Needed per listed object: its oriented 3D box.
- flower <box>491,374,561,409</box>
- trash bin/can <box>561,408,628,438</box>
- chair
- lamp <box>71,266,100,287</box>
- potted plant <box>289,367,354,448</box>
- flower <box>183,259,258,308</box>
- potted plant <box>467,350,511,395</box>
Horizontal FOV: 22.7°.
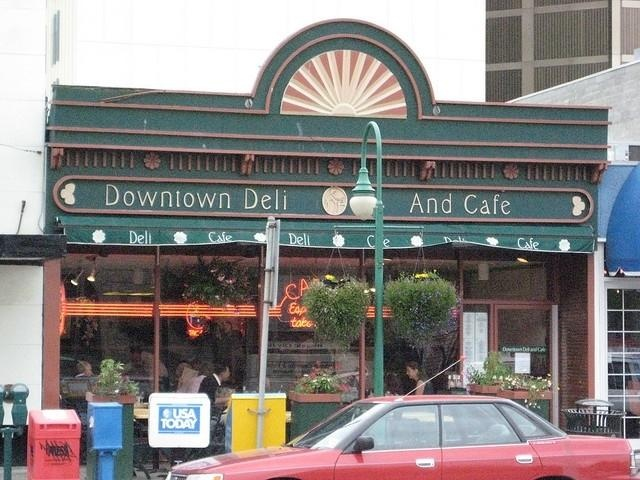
[{"bbox_3d":[4.518,3.295,34.946,1.162,0.681,1.246,2,-4,-28],"label":"flower"},{"bbox_3d":[5.895,3.845,33.947,1.153,0.603,1.123,2,-3,-24],"label":"trash bin/can"},{"bbox_3d":[-2.410,4.108,33.031,2.785,2.880,1.580,1,-1,-6],"label":"chair"},{"bbox_3d":[-5.213,0.830,35.354,0.673,0.426,0.257,-1,-1,-1],"label":"lamp"},{"bbox_3d":[-0.044,3.573,34.394,1.017,1.609,1.042,4,-2,-25],"label":"potted plant"},{"bbox_3d":[-2.220,0.924,35.650,1.659,1.004,0.287,0,-10,-15],"label":"flower"},{"bbox_3d":[3.764,2.874,35.115,0.834,0.945,0.818,3,1,-20],"label":"potted plant"}]
